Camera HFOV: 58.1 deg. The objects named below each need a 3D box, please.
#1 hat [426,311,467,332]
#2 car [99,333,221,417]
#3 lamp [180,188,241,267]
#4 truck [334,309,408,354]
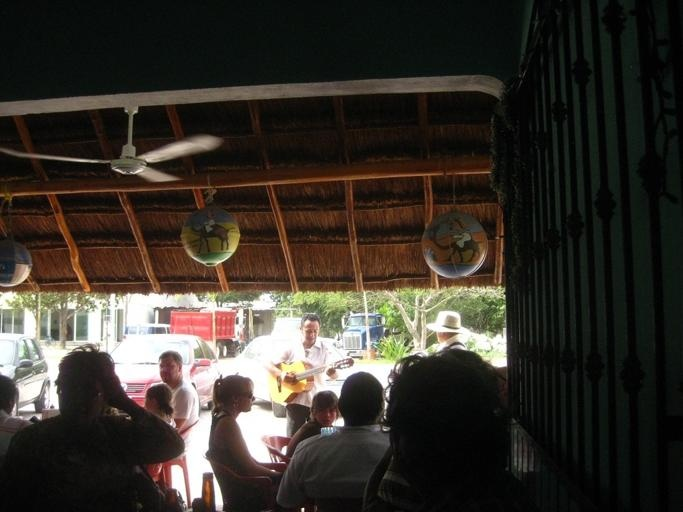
[{"bbox_3d":[1.189,0.747,7.024,0.339,0.153,0.376,5,-8,-3],"label":"hat"},{"bbox_3d":[-2.870,1.775,10.248,1.511,1.072,2.490,-2,-19,2],"label":"car"},{"bbox_3d":[-1.186,-0.252,5.896,0.545,0.828,0.570,-1,-4,4],"label":"lamp"},{"bbox_3d":[0.720,2.723,22.326,1.186,1.160,2.355,-3,-13,18],"label":"truck"}]
